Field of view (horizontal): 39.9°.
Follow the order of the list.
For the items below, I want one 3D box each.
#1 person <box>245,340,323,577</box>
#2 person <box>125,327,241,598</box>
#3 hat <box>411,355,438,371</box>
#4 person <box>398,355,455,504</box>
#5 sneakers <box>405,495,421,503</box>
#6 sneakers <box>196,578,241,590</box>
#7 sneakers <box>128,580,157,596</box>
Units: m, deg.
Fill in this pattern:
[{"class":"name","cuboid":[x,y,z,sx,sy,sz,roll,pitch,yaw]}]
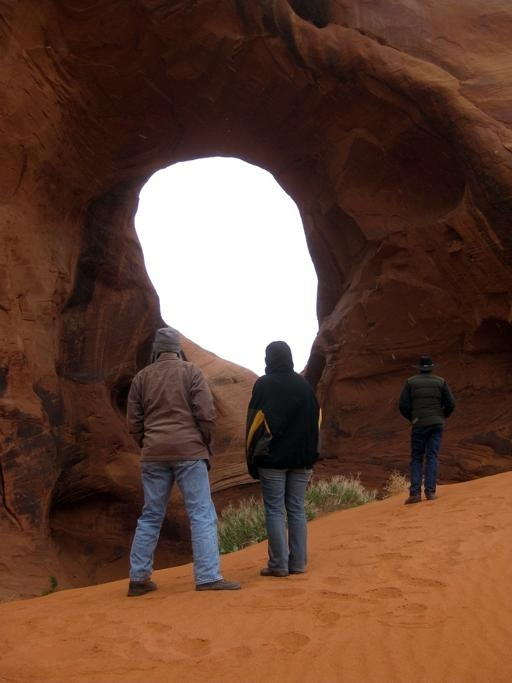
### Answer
[{"class":"person","cuboid":[0.206,0.827,5.189,0.571,1.330,0.348,-6,-4,-28]},{"class":"person","cuboid":[-0.586,0.800,4.920,0.786,1.311,0.594,-7,-3,6]},{"class":"hat","cuboid":[2.220,0.262,9.231,0.298,0.143,0.392,-2,-4,2]},{"class":"person","cuboid":[1.750,0.891,7.244,0.607,1.306,0.361,-8,-3,10]},{"class":"sneakers","cuboid":[1.587,1.601,7.123,0.170,0.077,0.243,-7,-3,11]},{"class":"sneakers","cuboid":[-0.246,1.602,4.661,0.298,0.102,0.094,-4,-20,7]},{"class":"sneakers","cuboid":[-0.788,1.686,4.851,0.086,0.092,0.222,-3,-7,23]}]
